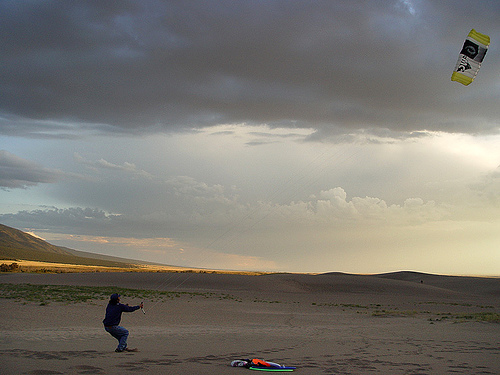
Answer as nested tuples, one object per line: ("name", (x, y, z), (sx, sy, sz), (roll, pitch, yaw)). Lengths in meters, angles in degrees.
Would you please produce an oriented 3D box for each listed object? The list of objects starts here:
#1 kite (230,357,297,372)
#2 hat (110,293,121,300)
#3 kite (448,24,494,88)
("kite", (0.561, 7.937, 22.830), (2.951, 0.402, 0.821), (4, -9, 11))
("hat", (-6.520, 5.225, 24.723), (0.387, 0.403, 0.291), (19, -23, -39))
("kite", (14.149, -8.310, 32.722), (1.854, 3.414, 0.854), (2, -10, 24))
